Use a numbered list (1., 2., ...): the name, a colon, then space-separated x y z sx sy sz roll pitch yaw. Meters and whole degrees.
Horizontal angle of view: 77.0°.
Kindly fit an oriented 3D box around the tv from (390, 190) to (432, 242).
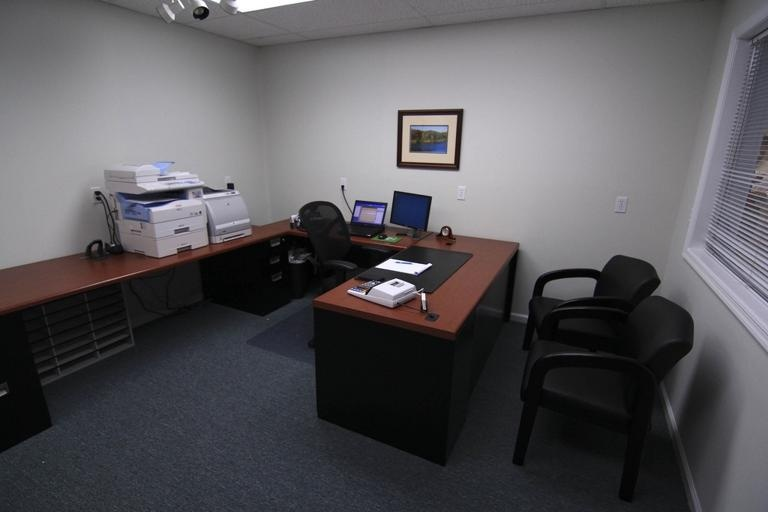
1. tv: 0.293 -0.420 5.015 0.460 0.459 0.235 15 7 23

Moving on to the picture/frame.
1. picture/frame: 0.487 -1.213 4.913 0.646 0.547 0.050 5 18 12

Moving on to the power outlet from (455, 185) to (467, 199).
1. power outlet: 0.788 -0.655 4.929 0.131 0.188 0.020 3 18 21

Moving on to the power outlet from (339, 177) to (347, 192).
1. power outlet: -0.464 -0.805 5.419 0.109 0.161 0.021 10 20 18

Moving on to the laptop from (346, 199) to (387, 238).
1. laptop: -0.181 -0.411 5.182 0.447 0.397 0.318 8 17 15

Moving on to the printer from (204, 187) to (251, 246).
1. printer: -1.542 -0.430 4.823 0.500 0.536 0.503 10 17 29

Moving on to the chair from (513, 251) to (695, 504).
1. chair: 1.598 0.807 3.717 1.026 1.367 1.199 10 20 17

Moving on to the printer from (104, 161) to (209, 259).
1. printer: -2.011 -0.545 4.666 0.908 1.005 0.761 11 22 22

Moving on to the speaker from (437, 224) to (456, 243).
1. speaker: 0.636 -0.227 4.893 0.175 0.146 0.063 9 17 35

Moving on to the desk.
1. desk: -0.963 0.568 4.331 4.248 1.313 2.722 7 20 9
